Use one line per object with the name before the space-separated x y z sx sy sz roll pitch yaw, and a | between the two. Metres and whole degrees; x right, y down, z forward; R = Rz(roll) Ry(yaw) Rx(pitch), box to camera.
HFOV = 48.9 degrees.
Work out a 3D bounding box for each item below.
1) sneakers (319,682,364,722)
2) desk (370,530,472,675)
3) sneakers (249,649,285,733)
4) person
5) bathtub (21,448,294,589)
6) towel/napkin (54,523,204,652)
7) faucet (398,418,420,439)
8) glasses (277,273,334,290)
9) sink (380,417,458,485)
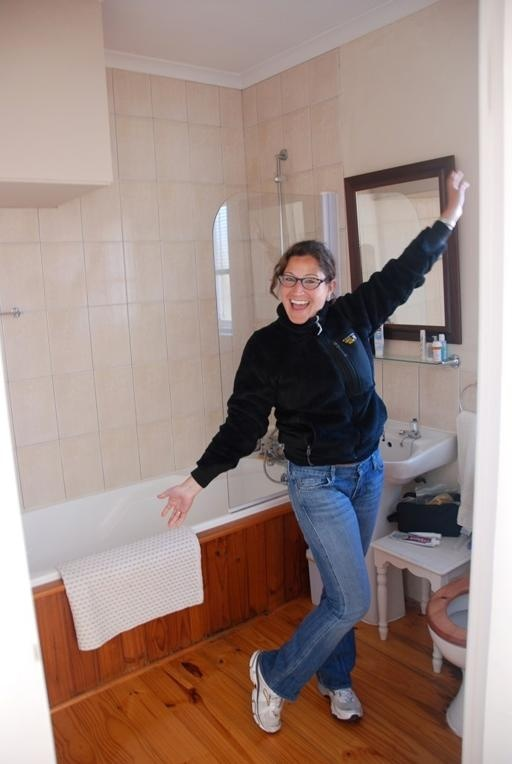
sneakers | 0.280 1.014 1.813 0.068 0.060 0.136 -1 -1 -19
desk | 0.604 0.768 2.211 0.384 0.489 0.418 -5 7 -38
sneakers | 0.028 0.936 1.761 0.109 0.246 0.082 -17 -7 32
person | 0.176 0.256 1.640 0.912 1.651 0.356 -6 8 -19
bathtub | -0.554 0.609 2.821 1.116 0.228 0.546 -7 9 -39
towel/napkin | -0.448 0.708 2.003 0.472 0.249 0.256 -9 6 -32
faucet | 0.664 0.205 2.465 0.061 0.092 0.093 -9 13 -38
glasses | 0.132 -0.276 1.569 0.138 0.053 0.075 -3 8 3
sink | 0.649 0.290 2.310 0.234 0.140 0.347 -20 10 -18
